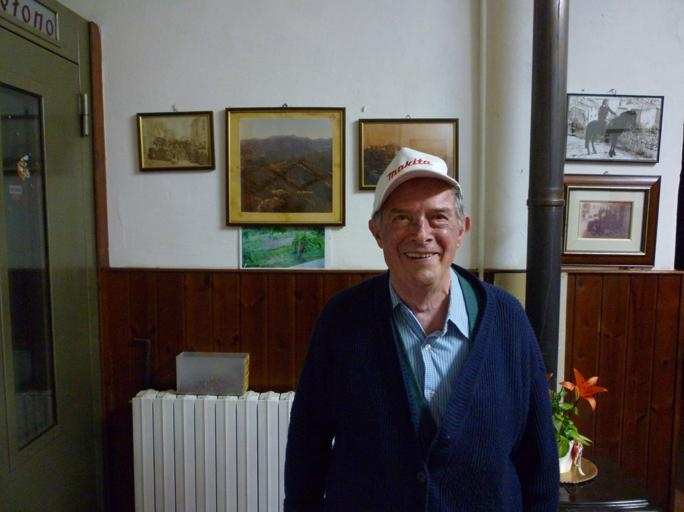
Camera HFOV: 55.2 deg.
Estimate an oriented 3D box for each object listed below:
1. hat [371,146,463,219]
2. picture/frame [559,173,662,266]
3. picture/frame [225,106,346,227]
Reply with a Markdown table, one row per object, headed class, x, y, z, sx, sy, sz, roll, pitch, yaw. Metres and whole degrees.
| class | x | y | z | sx | sy | sz | roll | pitch | yaw |
| --- | --- | --- | --- | --- | --- | --- | --- | --- | --- |
| hat | 0.228 | -0.221 | 2.321 | 0.284 | 0.204 | 0.416 | -12 | -6 | 1 |
| picture/frame | 1.214 | -0.177 | 2.942 | 0.342 | 0.356 | 0.028 | 2 | 1 | 1 |
| picture/frame | -0.240 | -0.427 | 2.996 | 0.455 | 0.505 | 0.035 | 0 | 3 | -3 |
